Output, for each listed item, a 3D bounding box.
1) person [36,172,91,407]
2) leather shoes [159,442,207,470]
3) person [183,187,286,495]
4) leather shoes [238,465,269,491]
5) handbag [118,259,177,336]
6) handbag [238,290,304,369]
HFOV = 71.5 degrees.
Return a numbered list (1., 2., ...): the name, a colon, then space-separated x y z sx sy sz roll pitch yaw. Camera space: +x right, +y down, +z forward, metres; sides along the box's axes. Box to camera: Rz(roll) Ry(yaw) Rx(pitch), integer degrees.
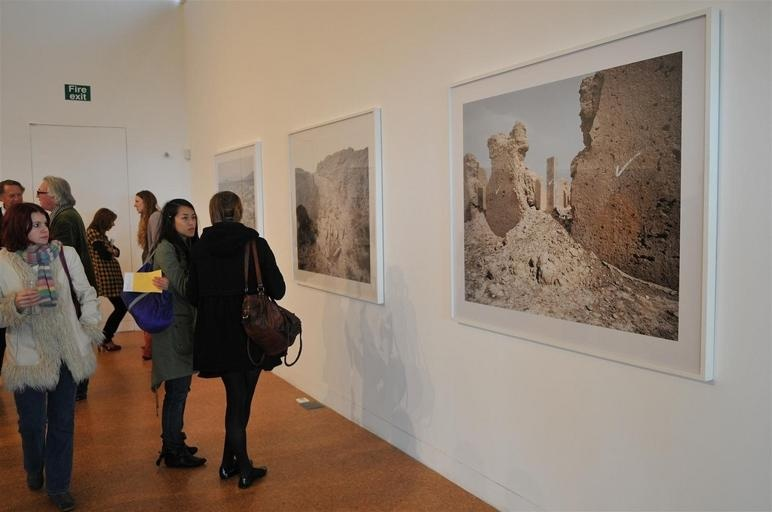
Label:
1. person: -3.697 0.328 6.133 0.661 2.362 0.640 -9 13 -39
2. leather shoes: -1.726 1.700 4.509 0.247 0.096 0.252 -2 9 -33
3. person: -1.138 0.669 4.139 0.704 2.290 0.393 -3 8 -12
4. leather shoes: -1.061 1.750 4.319 0.099 0.132 0.301 6 7 20
5. handbag: -1.917 0.272 4.361 0.337 0.626 0.481 -3 15 -33
6. handbag: -0.849 0.564 4.133 0.406 0.581 0.207 -18 15 20
